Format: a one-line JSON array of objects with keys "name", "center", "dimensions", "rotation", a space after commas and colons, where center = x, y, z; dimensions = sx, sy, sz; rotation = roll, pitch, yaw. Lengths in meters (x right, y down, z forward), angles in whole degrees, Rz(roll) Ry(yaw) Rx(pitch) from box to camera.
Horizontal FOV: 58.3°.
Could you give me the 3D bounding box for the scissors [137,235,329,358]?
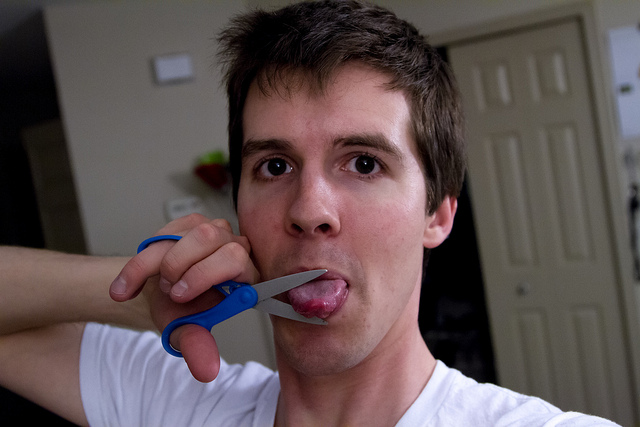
[{"name": "scissors", "center": [-0.249, 0.277, 1.821], "dimensions": [0.539, 0.362, 0.084], "rotation": [-5, -29, 2]}]
